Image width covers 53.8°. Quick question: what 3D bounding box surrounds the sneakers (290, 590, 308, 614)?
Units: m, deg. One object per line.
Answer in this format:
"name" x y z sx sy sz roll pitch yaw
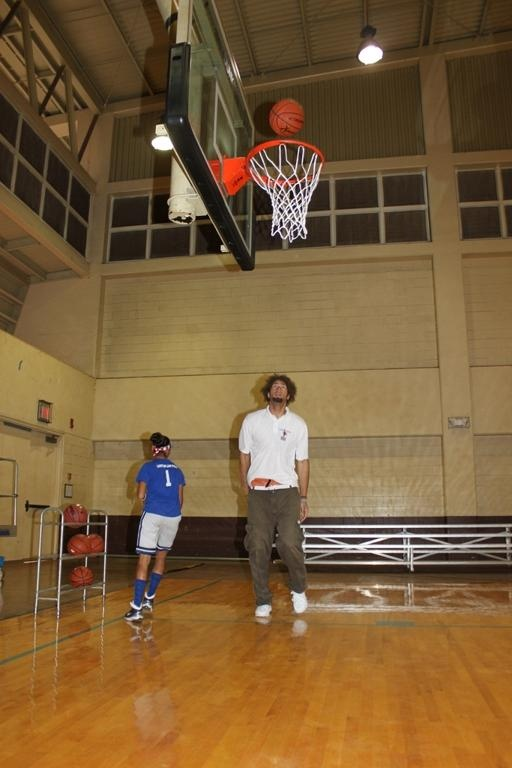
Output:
"sneakers" 0.314 1.613 3.725 0.088 0.103 0.250 -3 -27 5

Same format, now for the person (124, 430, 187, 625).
"person" -0.782 1.061 3.995 0.410 1.392 0.812 1 -12 -11

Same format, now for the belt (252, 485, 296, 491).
"belt" 0.115 0.727 3.594 0.291 0.053 0.061 -3 -12 7

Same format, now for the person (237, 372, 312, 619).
"person" 0.134 0.767 3.661 0.496 1.717 0.321 -1 -12 0

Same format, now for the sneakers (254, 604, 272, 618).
"sneakers" 0.041 1.591 3.549 0.059 0.078 0.172 0 -32 5
